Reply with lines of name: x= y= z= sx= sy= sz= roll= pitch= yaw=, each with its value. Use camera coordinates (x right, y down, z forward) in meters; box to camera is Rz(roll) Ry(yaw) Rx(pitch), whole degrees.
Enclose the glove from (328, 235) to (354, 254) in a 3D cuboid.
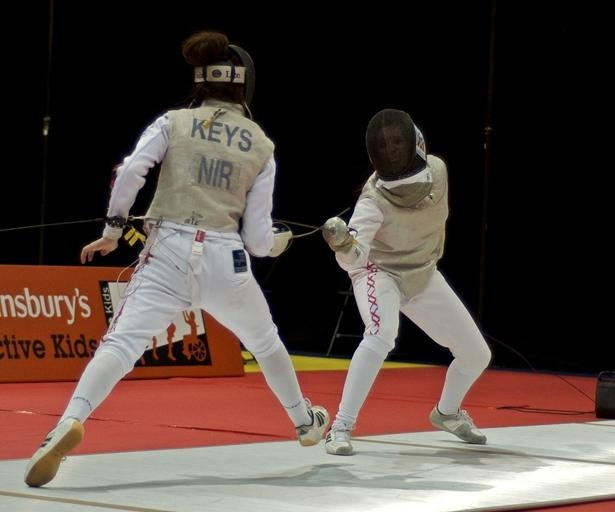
glove: x=0.128 y=-0.046 z=2.624 sx=0.091 sy=0.071 sz=0.110 roll=7 pitch=9 yaw=6
